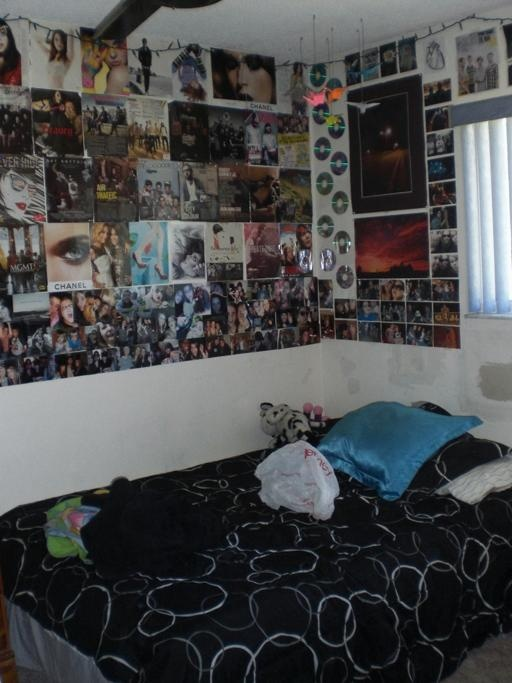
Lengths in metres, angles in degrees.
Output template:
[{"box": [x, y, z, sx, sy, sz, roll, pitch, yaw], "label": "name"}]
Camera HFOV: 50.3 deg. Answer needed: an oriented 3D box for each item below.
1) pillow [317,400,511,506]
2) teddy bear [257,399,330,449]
[{"box": [0.598, 0.449, 2.579, 0.482, 0.133, 0.465, -28, 25, -28], "label": "pillow"}, {"box": [0.222, 0.492, 3.282, 0.390, 0.293, 0.332, -11, -7, 1], "label": "teddy bear"}]
